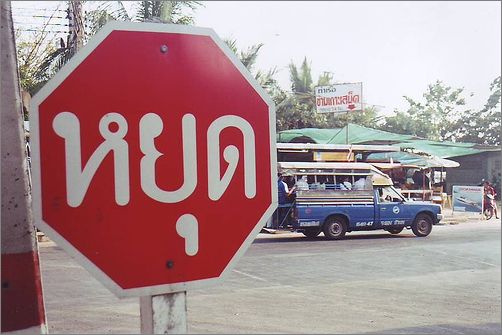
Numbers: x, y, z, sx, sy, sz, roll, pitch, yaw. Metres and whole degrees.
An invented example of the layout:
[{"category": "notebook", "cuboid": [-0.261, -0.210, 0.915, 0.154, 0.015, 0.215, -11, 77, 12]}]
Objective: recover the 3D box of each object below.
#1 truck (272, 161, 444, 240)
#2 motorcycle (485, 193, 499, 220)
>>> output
[{"category": "truck", "cuboid": [2.816, 0.883, 16.409, 4.530, 1.801, 2.005, -1, -1, -22]}, {"category": "motorcycle", "cuboid": [9.346, 1.523, 22.450, 0.483, 1.004, 1.233, -13, -6, 22]}]
